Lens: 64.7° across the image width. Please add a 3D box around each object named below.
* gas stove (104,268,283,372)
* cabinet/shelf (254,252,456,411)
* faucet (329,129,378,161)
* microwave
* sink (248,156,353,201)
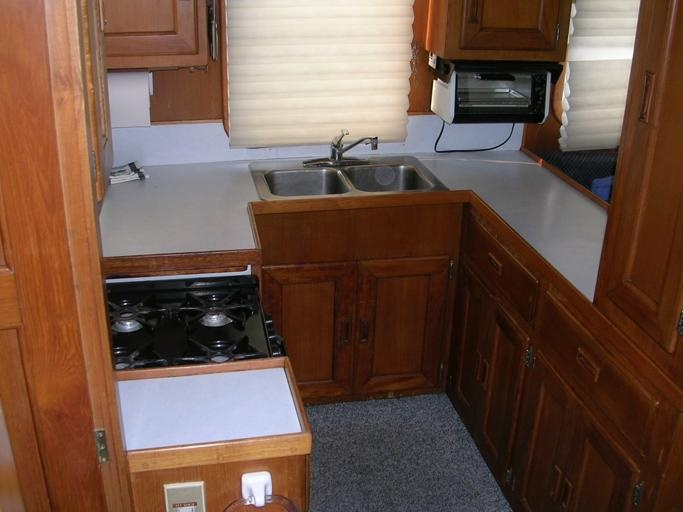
[{"bbox_3d":[-0.490,0.218,1.767,0.537,0.131,0.591,-10,26,-14],"label":"gas stove"},{"bbox_3d":[0.055,0.345,2.820,0.961,0.842,0.381,-2,17,-9],"label":"cabinet/shelf"},{"bbox_3d":[0.068,-0.610,2.905,0.266,0.177,0.293,-2,25,4],"label":"faucet"},{"bbox_3d":[0.776,-0.854,2.807,0.656,0.317,0.709,-6,21,-13],"label":"microwave"},{"bbox_3d":[-0.227,-0.422,2.759,0.333,0.213,0.308,-4,34,-11],"label":"sink"}]
